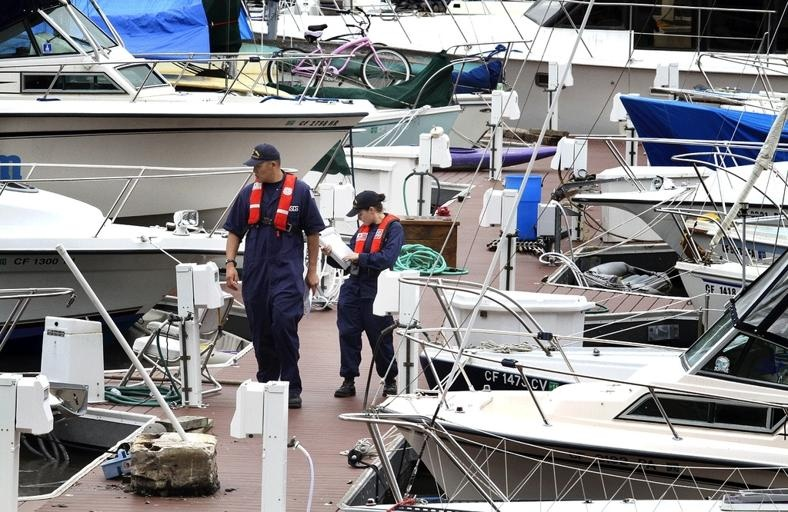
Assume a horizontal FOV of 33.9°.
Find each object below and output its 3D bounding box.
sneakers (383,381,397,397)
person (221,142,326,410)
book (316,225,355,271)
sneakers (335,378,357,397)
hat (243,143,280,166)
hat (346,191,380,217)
[{"bbox_3d":[-0.046,1.417,13.873,0.207,0.172,0.411,-1,-6,5],"label":"sneakers"},{"bbox_3d":[-1.284,0.219,13.727,0.922,2.782,0.773,8,19,32],"label":"person"},{"bbox_3d":[-0.681,-0.033,13.934,0.157,0.464,0.362,-44,-6,33],"label":"book"},{"bbox_3d":[-0.516,1.440,14.137,0.124,0.135,0.304,4,-2,22],"label":"sneakers"},{"bbox_3d":[-1.391,-1.049,13.578,0.337,0.253,0.380,-4,16,-8],"label":"hat"},{"bbox_3d":[-0.316,-0.566,14.018,0.356,0.191,0.224,-20,17,-3],"label":"hat"}]
